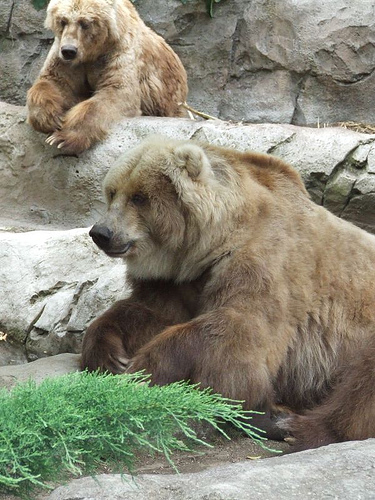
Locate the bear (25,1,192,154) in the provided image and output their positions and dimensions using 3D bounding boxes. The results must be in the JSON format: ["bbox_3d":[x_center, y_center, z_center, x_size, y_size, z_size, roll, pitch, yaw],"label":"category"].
[{"bbox_3d":[-1.108,-2.182,7.739,2.603,1.823,1.446,-8,18,-44],"label":"bear"}]
